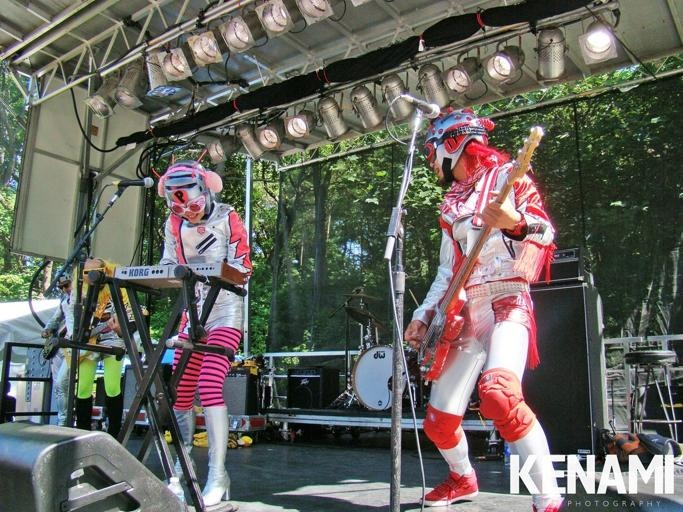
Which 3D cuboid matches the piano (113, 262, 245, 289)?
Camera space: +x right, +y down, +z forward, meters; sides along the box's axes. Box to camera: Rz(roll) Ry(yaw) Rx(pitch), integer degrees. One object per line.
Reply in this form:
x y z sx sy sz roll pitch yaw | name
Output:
-0.990 0.124 4.023 0.786 0.145 0.397 2 -11 -7 | piano

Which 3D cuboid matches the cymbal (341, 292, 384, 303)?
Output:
0.277 0.537 8.358 0.268 0.065 0.266 14 -7 -10 | cymbal

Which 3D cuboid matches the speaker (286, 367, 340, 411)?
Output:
-0.325 1.673 8.221 0.521 0.551 0.527 -5 -12 25 | speaker

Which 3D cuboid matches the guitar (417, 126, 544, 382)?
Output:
0.742 0.118 3.881 0.206 1.911 0.516 21 17 -20 | guitar

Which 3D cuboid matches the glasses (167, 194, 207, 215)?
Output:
-1.049 -0.350 4.477 0.272 0.137 0.127 3 -11 -14 | glasses

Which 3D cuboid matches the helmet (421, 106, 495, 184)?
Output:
0.752 -0.693 4.326 0.365 0.507 0.270 1 5 31 | helmet

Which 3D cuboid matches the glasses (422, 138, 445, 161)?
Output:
0.589 -0.697 4.321 0.072 0.135 0.101 1 -4 11 | glasses

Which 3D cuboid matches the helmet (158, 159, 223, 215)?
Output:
-1.026 -0.420 4.560 0.402 0.361 0.375 -5 -2 3 | helmet

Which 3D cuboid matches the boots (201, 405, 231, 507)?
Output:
-0.820 1.298 4.304 0.180 0.622 0.374 2 -11 -9 | boots

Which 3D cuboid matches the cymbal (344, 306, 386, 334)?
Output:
0.287 0.761 8.093 0.445 0.291 0.872 0 -11 4 | cymbal

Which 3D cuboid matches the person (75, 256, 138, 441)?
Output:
-2.203 0.897 6.083 0.495 1.715 0.539 -6 -3 43 | person
